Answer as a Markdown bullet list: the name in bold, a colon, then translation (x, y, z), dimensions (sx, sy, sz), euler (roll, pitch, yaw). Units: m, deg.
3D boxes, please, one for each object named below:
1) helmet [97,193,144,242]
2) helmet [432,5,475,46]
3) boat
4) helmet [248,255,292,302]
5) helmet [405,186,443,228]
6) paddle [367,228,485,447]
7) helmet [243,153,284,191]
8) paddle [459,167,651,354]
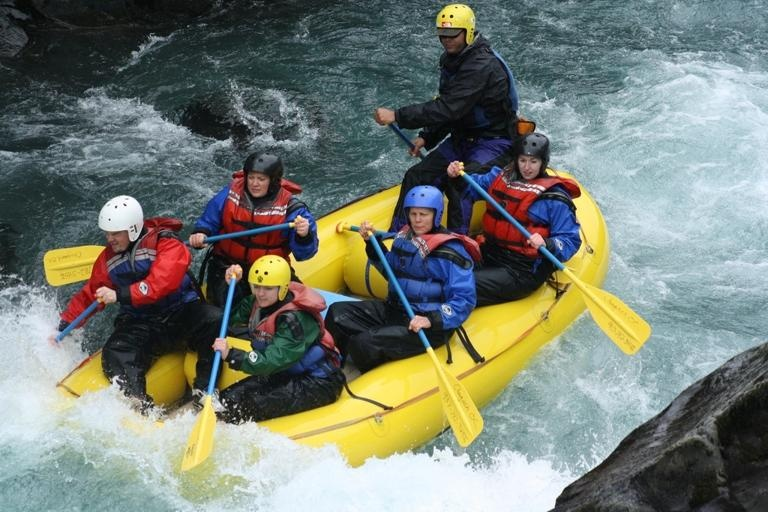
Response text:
- **helmet**: translation (-2.444, -0.344, 7.040), dimensions (0.415, 0.368, 0.350), euler (-14, 18, -27)
- **helmet**: translation (0.800, -2.591, 8.331), dimensions (0.351, 0.360, 0.470), euler (12, 31, 25)
- **boat**: translation (0.358, 1.017, 7.398), dimensions (4.453, 0.868, 2.577), euler (-31, 56, -29)
- **helmet**: translation (-1.039, 0.203, 6.869), dimensions (0.349, 0.355, 0.433), euler (9, 14, 5)
- **helmet**: translation (0.438, -0.501, 7.380), dimensions (0.343, 0.408, 0.434), euler (0, 9, 23)
- **paddle**: translation (0.408, 0.843, 7.267), dimensions (0.334, 1.892, 1.046), euler (-26, -13, -7)
- **helmet**: translation (-1.207, -0.883, 7.585), dimensions (0.341, 0.388, 0.424), euler (23, 17, 19)
- **paddle**: translation (1.772, 0.111, 8.053), dimensions (2.768, 0.405, 0.220), euler (46, 33, 9)
